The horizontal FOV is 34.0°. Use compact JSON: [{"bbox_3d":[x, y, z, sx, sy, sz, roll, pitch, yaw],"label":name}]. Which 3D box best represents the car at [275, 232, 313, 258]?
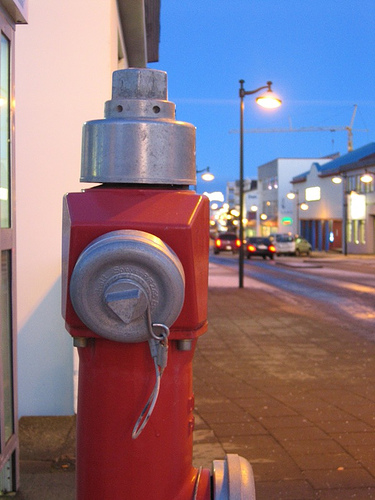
[{"bbox_3d":[7.180,-0.342,44.675,1.383,1.178,2.561,1,4,29],"label":"car"}]

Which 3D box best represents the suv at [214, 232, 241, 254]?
[{"bbox_3d":[2.621,-0.494,48.130,1.231,1.225,2.451,0,6,1],"label":"suv"}]
